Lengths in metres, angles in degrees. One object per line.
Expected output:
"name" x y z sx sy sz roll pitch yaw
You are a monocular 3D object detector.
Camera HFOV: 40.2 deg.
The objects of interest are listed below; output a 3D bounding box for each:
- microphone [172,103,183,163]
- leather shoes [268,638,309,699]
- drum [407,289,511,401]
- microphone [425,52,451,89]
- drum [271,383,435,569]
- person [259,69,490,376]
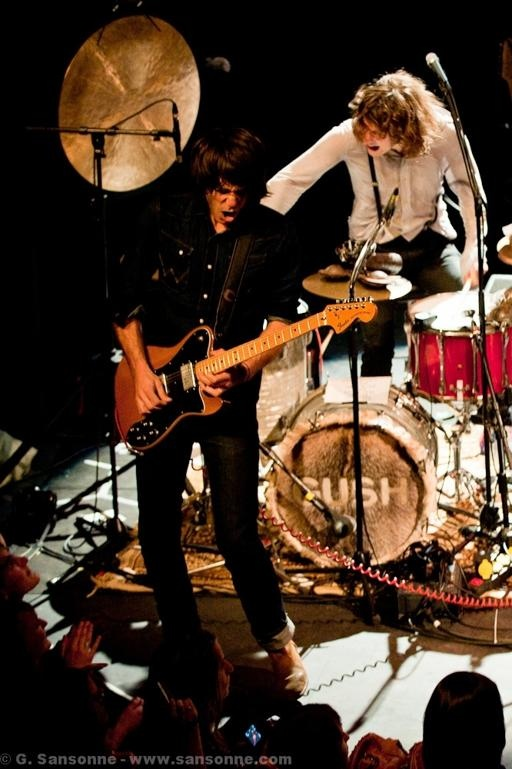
"microphone" -0.262 -0.831 2.317 0.030 0.205 0.024 3 11 32
"leather shoes" 0.113 0.925 2.337 0.078 0.218 0.089 -25 -22 -1
"drum" 0.751 -0.147 2.403 0.366 0.252 0.356 -4 19 2
"microphone" 0.497 -0.832 1.891 0.042 0.117 0.166 -9 5 19
"drum" 0.355 0.297 2.762 0.639 0.610 0.565 -26 5 13
"person" 0.465 -0.608 2.535 0.934 1.091 0.614 -8 26 2
